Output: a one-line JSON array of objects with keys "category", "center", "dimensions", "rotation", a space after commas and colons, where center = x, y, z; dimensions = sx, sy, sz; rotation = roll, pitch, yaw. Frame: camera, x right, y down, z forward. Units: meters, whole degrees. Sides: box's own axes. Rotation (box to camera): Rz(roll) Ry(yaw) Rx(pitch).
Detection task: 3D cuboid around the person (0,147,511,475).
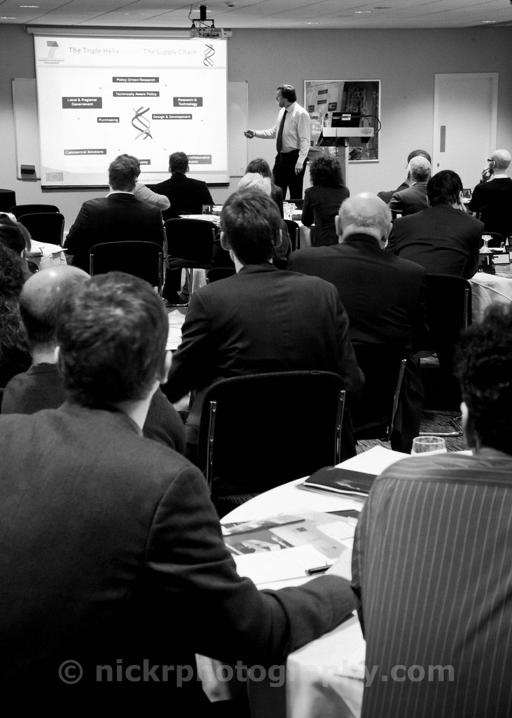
[{"category": "person", "center": [0.273, -0.195, 2.657], "dimensions": [1.076, 1.561, 1.117], "rotation": [2, 0, 1]}]
